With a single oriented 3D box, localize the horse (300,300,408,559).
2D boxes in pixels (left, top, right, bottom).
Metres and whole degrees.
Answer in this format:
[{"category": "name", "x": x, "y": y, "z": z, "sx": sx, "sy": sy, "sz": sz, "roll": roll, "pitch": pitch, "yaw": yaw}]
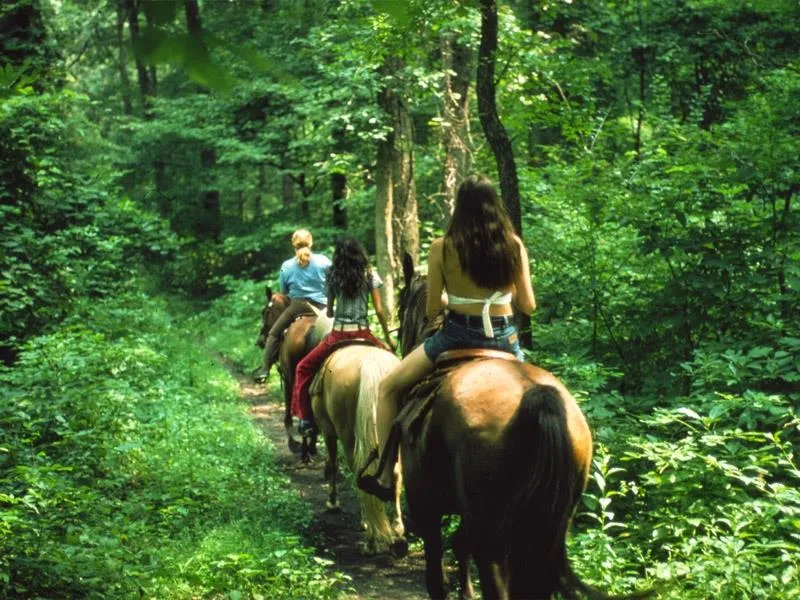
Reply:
[{"category": "horse", "x": -0.836, "y": 1.598, "z": 16.168, "sx": 0.815, "sy": 2.372, "sz": 3.222, "roll": -4, "pitch": 2, "yaw": -18}]
